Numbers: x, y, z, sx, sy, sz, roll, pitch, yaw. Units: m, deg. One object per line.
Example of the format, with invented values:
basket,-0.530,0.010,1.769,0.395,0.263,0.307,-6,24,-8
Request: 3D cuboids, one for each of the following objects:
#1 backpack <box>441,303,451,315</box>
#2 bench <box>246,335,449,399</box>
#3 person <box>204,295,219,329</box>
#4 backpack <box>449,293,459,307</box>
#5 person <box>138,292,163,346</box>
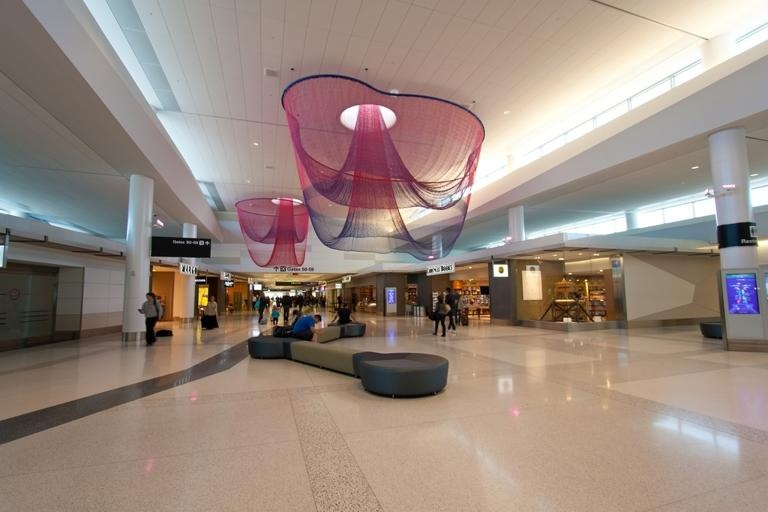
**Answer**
backpack,2.536,2.225,18.445,0.443,0.432,0.418,4,6,24
bench,-0.901,2.644,12.255,6.302,0.855,2.748,4,7,43
person,-8.276,2.777,21.260,0.596,1.347,1.209,-2,5,-19
backpack,2.913,1.912,19.084,0.352,0.632,0.485,-7,-11,44
person,-8.426,2.249,16.099,0.739,1.800,0.912,-3,6,-29
